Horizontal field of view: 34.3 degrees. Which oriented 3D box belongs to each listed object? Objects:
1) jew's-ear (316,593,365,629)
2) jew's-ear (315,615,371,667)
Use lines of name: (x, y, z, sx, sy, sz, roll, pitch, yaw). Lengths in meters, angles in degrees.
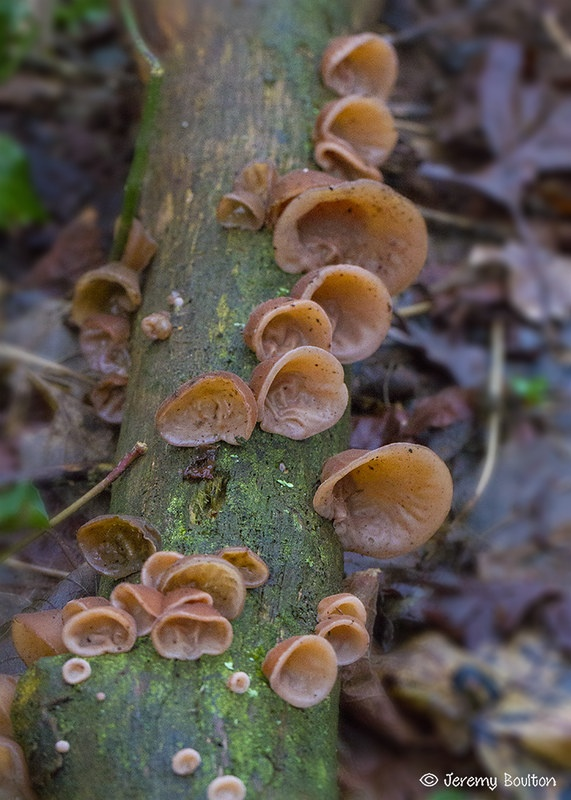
jew's-ear: (0.202, 0.748, 3.333, 0.155, 0.051, 0.130, 13, -57, -24)
jew's-ear: (0.213, 0.857, 3.260, 0.236, 0.078, 0.189, 7, -63, 5)
